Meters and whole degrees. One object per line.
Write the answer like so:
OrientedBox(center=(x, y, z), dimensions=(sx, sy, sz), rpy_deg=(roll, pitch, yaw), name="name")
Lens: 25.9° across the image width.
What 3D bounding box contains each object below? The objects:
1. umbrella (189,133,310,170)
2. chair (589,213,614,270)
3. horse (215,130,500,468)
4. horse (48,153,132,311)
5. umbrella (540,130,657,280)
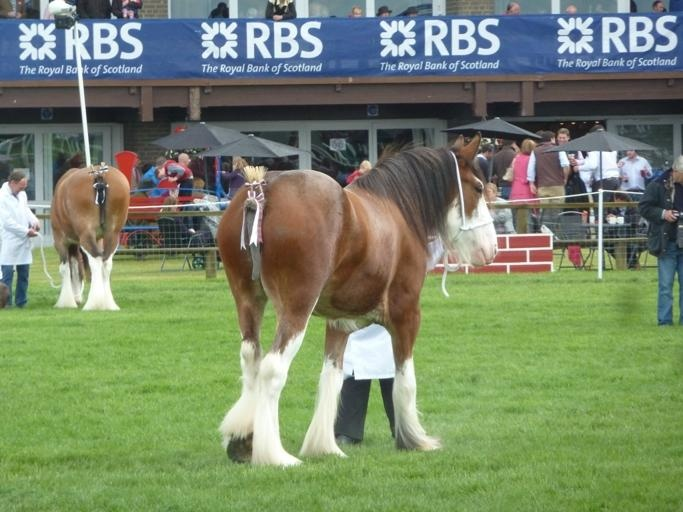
OrientedBox(center=(-1.649, -2.079, 28.740), dimensions=(1.339, 0.521, 1.403), rpy_deg=(-5, 12, -21), name="umbrella")
OrientedBox(center=(4.946, -0.214, 28.253), dimensions=(0.491, 0.808, 1.163), rpy_deg=(2, 2, 1), name="chair")
OrientedBox(center=(0.287, 0.440, 19.668), dimensions=(1.569, 4.416, 4.865), rpy_deg=(1, -1, 43), name="horse")
OrientedBox(center=(-4.211, -0.290, 25.036), dimensions=(1.311, 2.487, 0.835), rpy_deg=(-4, 0, 39), name="horse")
OrientedBox(center=(5.058, -1.091, 28.233), dimensions=(2.527, 3.199, 2.616), rpy_deg=(0, 0, -2), name="umbrella")
